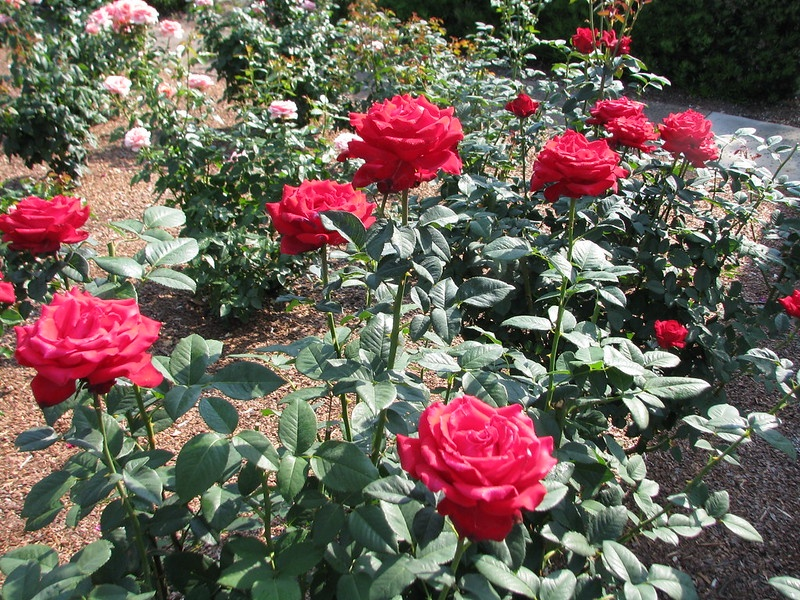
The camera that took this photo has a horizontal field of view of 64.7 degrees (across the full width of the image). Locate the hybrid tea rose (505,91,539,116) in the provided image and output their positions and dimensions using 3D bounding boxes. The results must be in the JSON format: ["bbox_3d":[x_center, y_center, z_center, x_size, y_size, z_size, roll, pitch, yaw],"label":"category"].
[{"bbox_3d":[0.702,-1.097,3.575,0.166,0.112,0.154,-26,46,-19],"label":"hybrid tea rose"}]

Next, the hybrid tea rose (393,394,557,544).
[{"bbox_3d":[0.226,0.465,1.826,0.501,0.199,0.455,20,30,17],"label":"hybrid tea rose"}]

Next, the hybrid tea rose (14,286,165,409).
[{"bbox_3d":[-0.943,0.139,1.913,0.397,0.238,0.352,17,44,20],"label":"hybrid tea rose"}]

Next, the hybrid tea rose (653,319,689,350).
[{"bbox_3d":[1.353,0.158,3.178,0.169,0.097,0.153,-12,39,-4],"label":"hybrid tea rose"}]

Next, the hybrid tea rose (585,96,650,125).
[{"bbox_3d":[1.080,-0.938,3.081,0.219,0.117,0.198,-25,29,-25],"label":"hybrid tea rose"}]
